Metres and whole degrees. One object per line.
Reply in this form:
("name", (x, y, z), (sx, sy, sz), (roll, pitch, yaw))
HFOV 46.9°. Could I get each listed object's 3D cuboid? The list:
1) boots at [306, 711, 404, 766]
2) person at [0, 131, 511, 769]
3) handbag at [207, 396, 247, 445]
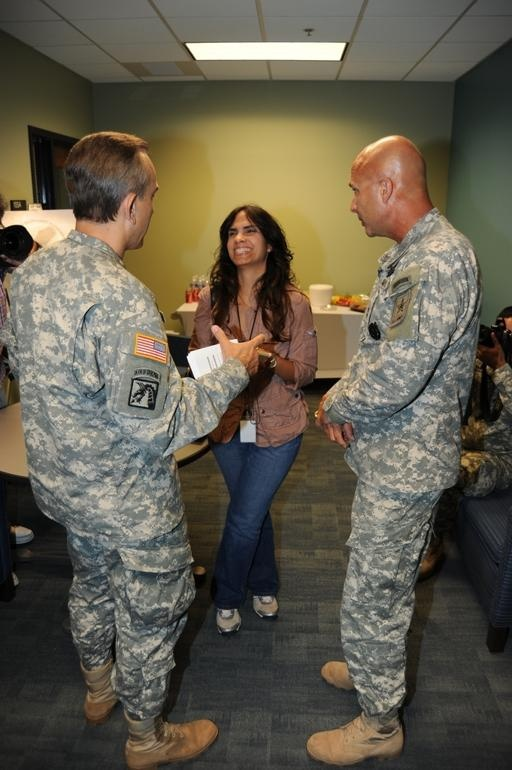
("boots", (0.218, 1.009, 1.659), (0.356, 0.208, 0.116), (1, 58, 0))
("person", (-0.042, 0.246, 1.519), (1.059, 1.724, 0.490), (-4, 17, -18))
("handbag", (-0.095, 0.124, 1.960), (0.102, 0.168, 0.044), (23, 2, -13))
